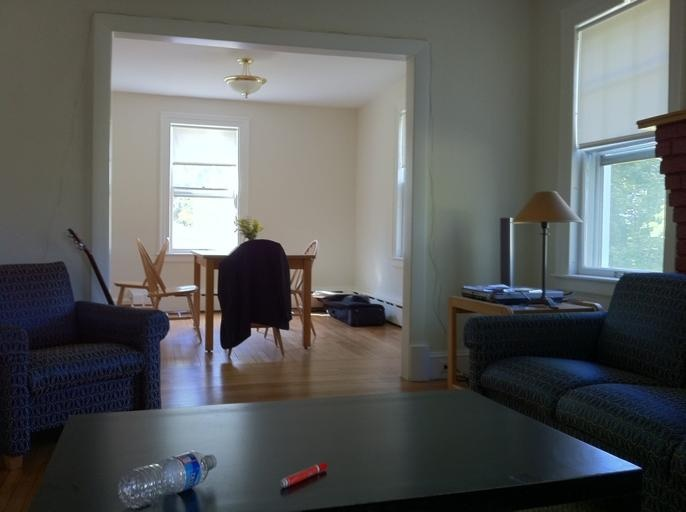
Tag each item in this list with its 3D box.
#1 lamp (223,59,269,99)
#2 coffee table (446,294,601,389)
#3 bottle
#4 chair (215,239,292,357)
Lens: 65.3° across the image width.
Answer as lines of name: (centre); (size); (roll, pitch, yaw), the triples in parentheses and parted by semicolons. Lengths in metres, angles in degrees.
lamp: (-1.070, -1.895, 5.879); (0.440, 0.411, 0.450); (-2, 9, -20)
coffee table: (1.138, 0.389, 3.556); (0.800, 0.908, 0.666); (0, -1, -9)
bottle: (-0.480, 0.588, 1.488); (0.250, 0.102, 0.096); (-6, 13, -40)
chair: (-0.832, 0.339, 5.052); (0.901, 1.269, 0.818); (-1, 5, -13)
